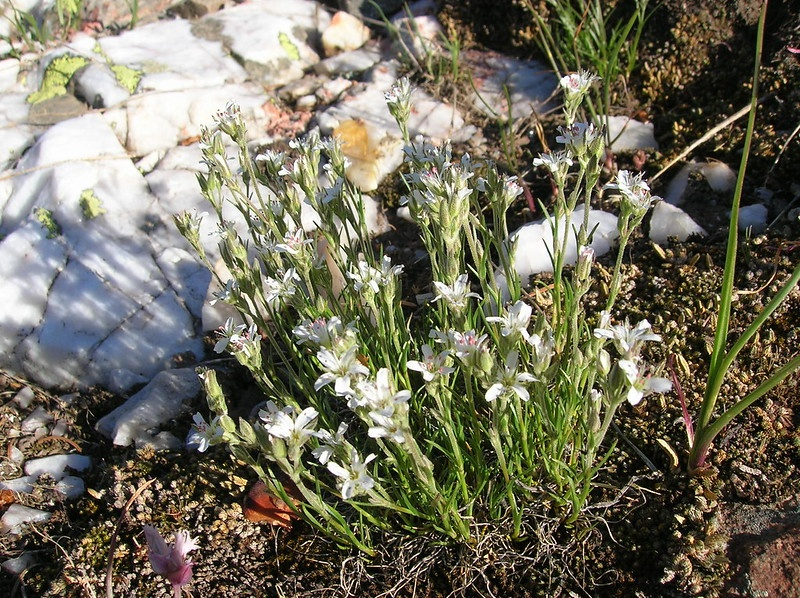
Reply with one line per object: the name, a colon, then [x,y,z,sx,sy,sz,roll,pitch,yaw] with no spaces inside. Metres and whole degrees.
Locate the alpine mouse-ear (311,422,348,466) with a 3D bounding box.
alpine mouse-ear: [-0.306,0.738,3.708,0.215,0.114,0.237,-13,60,45]
